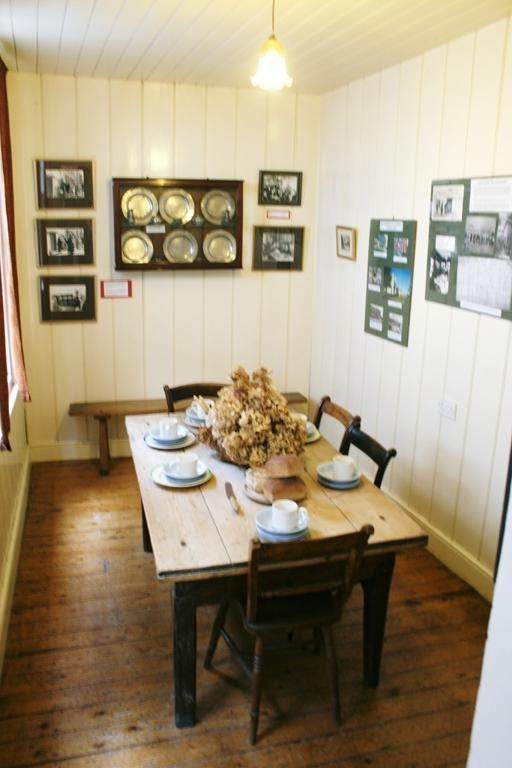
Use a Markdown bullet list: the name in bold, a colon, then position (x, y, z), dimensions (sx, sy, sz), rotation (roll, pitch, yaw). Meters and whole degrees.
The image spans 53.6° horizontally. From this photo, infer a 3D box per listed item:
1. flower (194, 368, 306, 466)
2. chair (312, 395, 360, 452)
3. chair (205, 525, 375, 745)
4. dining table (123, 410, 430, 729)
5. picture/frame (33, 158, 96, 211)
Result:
- **flower**: position (-0.018, 0.170, 2.197), dimensions (0.314, 0.326, 0.451), rotation (9, 25, 19)
- **chair**: position (0.535, 0.259, 3.359), dimensions (0.219, 0.491, 0.248), rotation (-4, 19, -26)
- **chair**: position (0.103, 0.848, 1.965), dimensions (0.434, 1.027, 0.622), rotation (0, 17, -3)
- **dining table**: position (0.013, 1.007, 2.652), dimensions (1.062, 1.053, 1.915), rotation (-3, 4, -11)
- **picture/frame**: position (-1.499, -1.565, 3.923), dimensions (0.298, 0.349, 0.035), rotation (-4, 18, -14)
